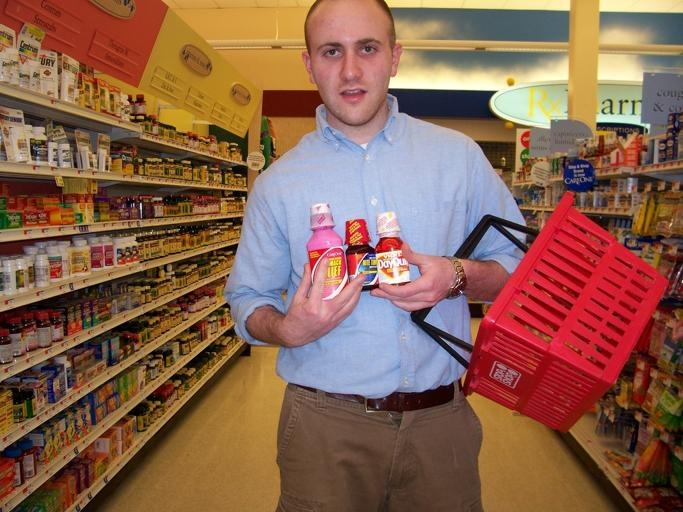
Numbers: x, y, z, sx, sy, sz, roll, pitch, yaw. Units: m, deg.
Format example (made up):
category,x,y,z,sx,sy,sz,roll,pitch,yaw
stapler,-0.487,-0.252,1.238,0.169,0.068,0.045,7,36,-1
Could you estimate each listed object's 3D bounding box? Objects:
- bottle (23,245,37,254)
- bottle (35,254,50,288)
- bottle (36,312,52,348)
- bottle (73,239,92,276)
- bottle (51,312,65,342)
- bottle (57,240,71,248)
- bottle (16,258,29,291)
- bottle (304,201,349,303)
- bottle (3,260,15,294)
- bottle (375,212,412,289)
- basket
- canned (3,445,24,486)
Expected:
category,x,y,z,sx,sy,sz,roll,pitch,yaw
bottle,-1.812,-0.034,2.758,0.063,0.037,0.061,-1,-2,0
bottle,-1.706,0.077,2.720,0.046,0.181,0.103,2,10,14
bottle,-1.698,0.414,2.718,0.061,0.197,0.077,9,13,44
bottle,-1.657,-0.004,3.033,0.103,0.206,0.133,-5,11,-27
bottle,-1.663,0.407,2.787,0.038,0.181,0.085,1,10,8
bottle,-1.710,-0.076,2.927,0.058,0.033,0.056,0,-4,0
bottle,-1.729,0.093,2.573,0.036,0.166,0.095,-3,10,-15
bottle,-0.050,-0.020,1.479,0.087,0.279,0.130,-9,13,-42
bottle,-1.748,0.107,2.500,0.065,0.180,0.036,-8,13,-41
bottle,0.158,-0.024,1.474,0.105,0.217,0.100,0,9,0
basket,0.642,0.195,1.568,0.506,0.787,0.554,31,0,3
canned,-1.765,1.124,2.561,0.117,0.186,0.085,7,12,35
